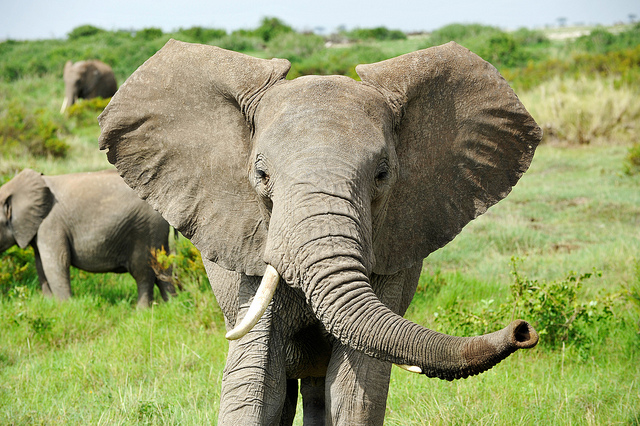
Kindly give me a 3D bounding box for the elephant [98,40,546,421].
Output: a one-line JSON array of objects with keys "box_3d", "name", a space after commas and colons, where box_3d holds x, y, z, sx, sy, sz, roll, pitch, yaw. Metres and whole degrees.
[{"box_3d": [-0.240, 0.533, 9.369, 2.694, 2.842, 4.563, 2, -13, -8], "name": "elephant"}]
